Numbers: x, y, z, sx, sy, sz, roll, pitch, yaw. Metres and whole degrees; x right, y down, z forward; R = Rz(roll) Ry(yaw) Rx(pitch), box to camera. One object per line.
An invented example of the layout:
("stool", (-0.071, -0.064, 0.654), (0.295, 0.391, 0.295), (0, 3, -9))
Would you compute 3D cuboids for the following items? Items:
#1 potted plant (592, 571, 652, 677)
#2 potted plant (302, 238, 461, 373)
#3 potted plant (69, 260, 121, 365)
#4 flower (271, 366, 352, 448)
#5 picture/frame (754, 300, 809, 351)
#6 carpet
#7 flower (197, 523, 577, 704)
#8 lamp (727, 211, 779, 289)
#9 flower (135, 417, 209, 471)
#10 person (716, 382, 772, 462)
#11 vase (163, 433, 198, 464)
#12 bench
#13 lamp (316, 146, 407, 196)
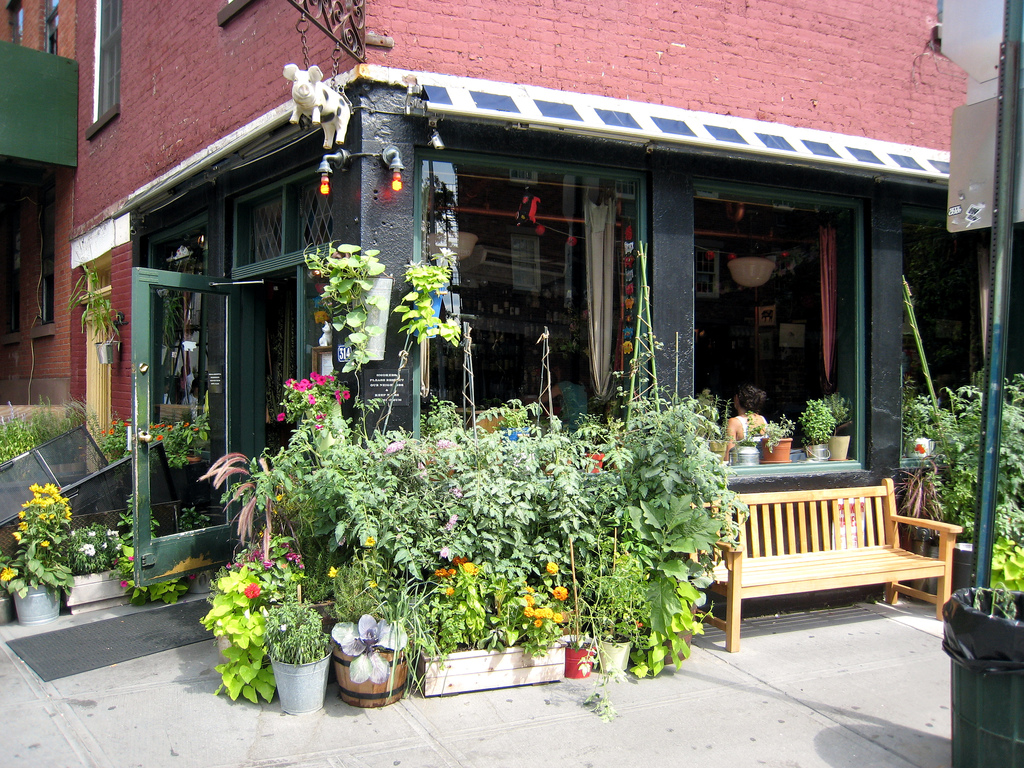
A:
("potted plant", (0.764, 1.635, 6.520), (0.412, 0.786, 0.259), (1, 8, 7))
("potted plant", (-1.059, -0.633, 7.285), (0.968, 0.821, 1.103), (2, 3, -18))
("potted plant", (-5.212, -0.827, 11.384), (0.521, 1.263, 2.126), (-4, 11, -26))
("flower", (-1.495, 0.208, 6.926), (0.518, 0.533, 0.766), (-2, 10, -11))
("picture/frame", (2.674, -0.564, 9.054), (0.461, 0.542, 0.449), (3, 13, 10))
("carpet", (-3.148, 2.027, 7.211), (1.485, 0.065, 1.000), (-7, 12, -33))
("flower", (-1.026, 1.550, 6.339), (1.763, 0.705, 1.327), (2, -6, -4))
("lamp", (2.364, -1.198, 8.812), (0.604, 0.606, 0.277), (-6, 10, -33))
("flower", (-3.040, 0.548, 8.051), (0.419, 0.216, 0.423), (-1, 9, -42))
("person", (2.141, 0.351, 8.296), (0.367, 0.560, 0.784), (2, 10, 15))
("vase", (-2.998, 0.588, 8.230), (0.100, 0.295, 0.429), (2, 10, 12))
("bench", (2.568, 1.473, 7.526), (1.961, 1.135, 0.780), (-2, 0, -12))
("lamp", (-1.184, -1.664, 7.135), (0.665, 0.353, 0.428), (2, 10, 9))
